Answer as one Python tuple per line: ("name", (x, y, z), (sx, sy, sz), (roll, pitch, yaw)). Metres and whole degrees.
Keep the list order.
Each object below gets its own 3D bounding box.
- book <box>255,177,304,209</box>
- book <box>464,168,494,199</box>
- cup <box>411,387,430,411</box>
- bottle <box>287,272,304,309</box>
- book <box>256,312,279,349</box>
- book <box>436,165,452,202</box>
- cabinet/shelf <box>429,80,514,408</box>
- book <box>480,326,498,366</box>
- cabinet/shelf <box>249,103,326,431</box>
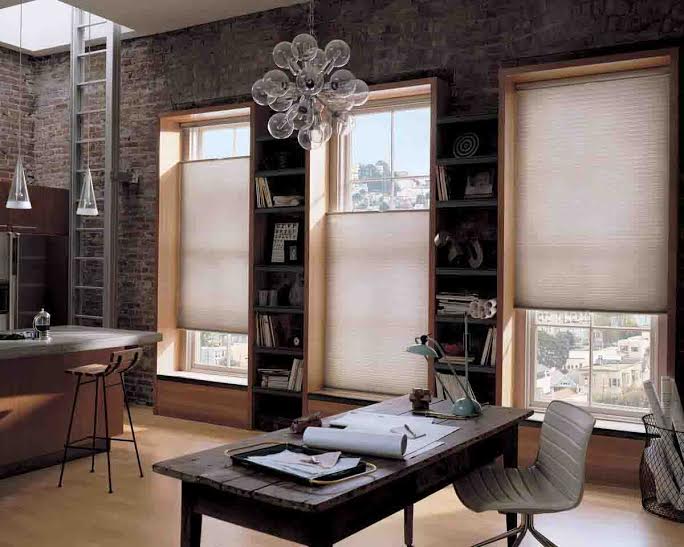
("book", (-0.653, -0.778, 5.702), (0.552, 0.374, 0.317), (0, 0, 15))
("book", (1.193, -0.777, 4.786), (0.240, 0.260, 0.237), (1, 2, 16))
("cup", (0.456, 0.732, 3.244), (0.117, 0.113, 0.112), (0, 1, 0))
("bottle", (-0.473, 0.164, 5.648), (0.140, 0.324, 0.492), (0, 2, -6))
("book", (-0.778, 0.583, 5.664), (0.223, 0.341, 0.098), (0, 1, -1))
("book", (0.872, -0.786, 4.773), (0.128, 0.323, 0.071), (0, 2, 9))
("cabinet/shelf", (1.056, -0.610, 4.831), (0.485, 1.935, 0.265), (7, 10, 35))
("book", (1.239, 0.612, 4.670), (0.154, 0.330, 0.078), (1, 2, 27))
("cabinet/shelf", (-0.609, -0.490, 5.699), (0.552, 2.590, 0.313), (1, 4, 13))
